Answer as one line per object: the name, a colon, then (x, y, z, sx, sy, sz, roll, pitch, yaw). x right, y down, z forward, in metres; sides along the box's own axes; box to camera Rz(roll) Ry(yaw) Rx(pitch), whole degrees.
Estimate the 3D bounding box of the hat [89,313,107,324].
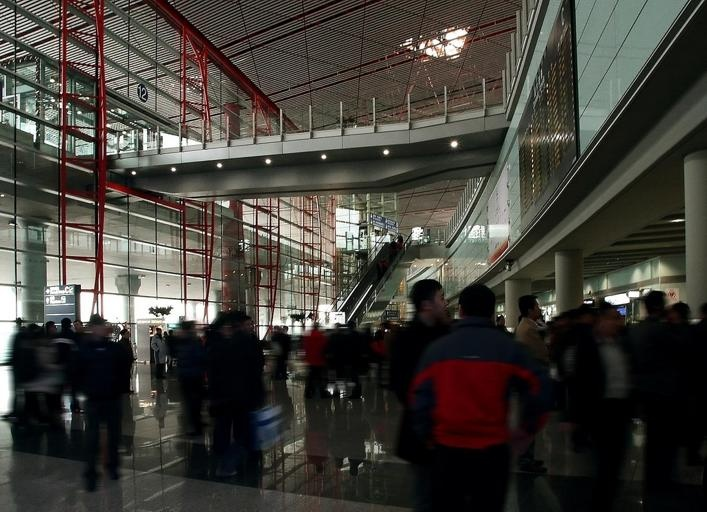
hat: (-3.783, 0.934, 11.001, 0.180, 0.153, 0.142, -1, -8, -37)
